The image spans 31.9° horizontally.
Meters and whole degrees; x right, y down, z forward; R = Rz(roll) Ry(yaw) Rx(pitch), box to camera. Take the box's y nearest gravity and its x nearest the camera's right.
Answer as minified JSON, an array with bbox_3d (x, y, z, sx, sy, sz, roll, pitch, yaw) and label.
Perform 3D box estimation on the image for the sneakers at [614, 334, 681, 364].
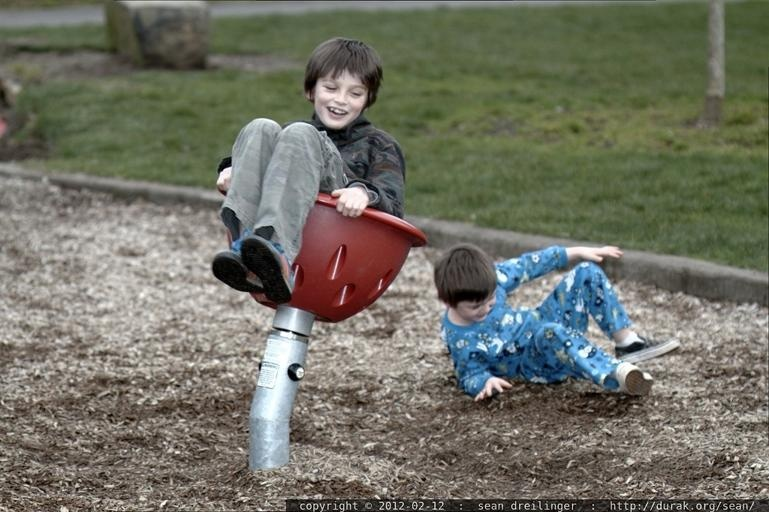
[{"bbox_3d":[1.441,0.529,7.420,0.398,0.140,0.140,-15,5,-1],"label":"sneakers"}]

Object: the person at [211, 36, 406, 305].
[{"bbox_3d":[-0.397,-0.446,7.057,0.778,1.321,1.173,4,14,29],"label":"person"}]

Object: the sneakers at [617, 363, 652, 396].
[{"bbox_3d":[1.331,0.670,7.196,0.181,0.180,0.060,-1,14,9],"label":"sneakers"}]

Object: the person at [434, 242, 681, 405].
[{"bbox_3d":[0.924,0.364,7.317,1.306,0.744,1.085,-4,39,16],"label":"person"}]

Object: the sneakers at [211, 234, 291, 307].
[{"bbox_3d":[-0.648,0.094,6.752,0.300,0.386,0.131,-20,40,27],"label":"sneakers"}]
